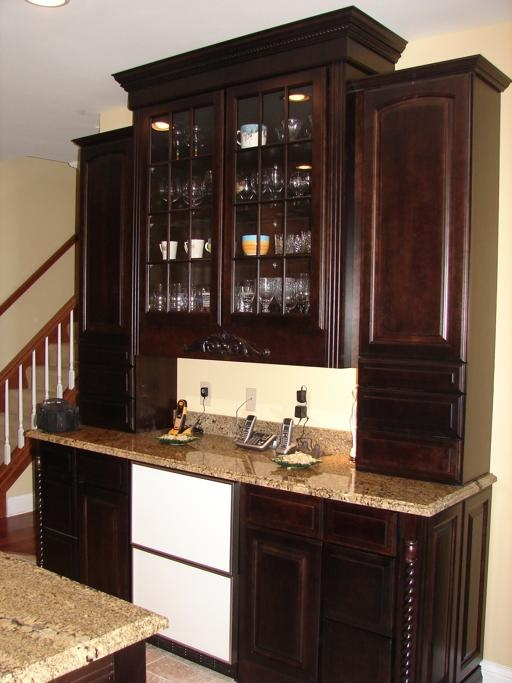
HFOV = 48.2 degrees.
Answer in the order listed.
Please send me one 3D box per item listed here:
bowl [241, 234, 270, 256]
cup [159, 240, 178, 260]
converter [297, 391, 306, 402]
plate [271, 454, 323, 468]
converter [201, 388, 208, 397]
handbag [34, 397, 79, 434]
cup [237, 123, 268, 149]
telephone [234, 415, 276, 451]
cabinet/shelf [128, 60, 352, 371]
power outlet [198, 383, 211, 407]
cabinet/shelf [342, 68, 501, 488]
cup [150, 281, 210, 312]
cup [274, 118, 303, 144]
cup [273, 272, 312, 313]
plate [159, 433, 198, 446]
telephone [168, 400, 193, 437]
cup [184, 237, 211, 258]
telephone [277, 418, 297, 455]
[{"bbox_3d":[-0.008,-0.410,2.419,0.093,0.067,0.086,0,3,0],"label":"bowl"},{"bbox_3d":[-0.421,-0.439,2.739,0.070,0.084,0.094,0,-3,-10],"label":"cup"},{"bbox_3d":[0.209,0.264,2.710,0.054,0.064,0.024,-3,-3,40],"label":"converter"},{"bbox_3d":[0.168,0.498,2.389,0.178,0.044,0.157,-2,-2,15],"label":"plate"},{"bbox_3d":[-0.283,0.276,3.107,0.039,0.063,0.018,1,-1,41],"label":"converter"},{"bbox_3d":[-1.070,0.401,3.134,0.166,0.139,0.182,3,1,3],"label":"handbag"},{"bbox_3d":[-0.016,-0.864,2.427,0.090,0.099,0.120,-1,0,-45],"label":"cup"},{"bbox_3d":[0.005,0.441,2.717,0.142,0.108,0.154,6,24,21],"label":"telephone"},{"bbox_3d":[-0.048,-0.566,2.437,1.213,1.550,0.350,3,3,40],"label":"cabinet/shelf"},{"bbox_3d":[-0.282,0.292,3.119,0.017,0.192,0.104,-3,5,-41],"label":"power outlet"},{"bbox_3d":[0.673,-0.235,2.050,0.572,1.479,0.439,-1,-2,-3],"label":"cabinet/shelf"},{"bbox_3d":[-0.368,-0.203,2.702,0.148,0.091,0.220,-1,5,-37],"label":"cup"},{"bbox_3d":[0.131,-0.842,2.297,0.080,0.081,0.095,0,5,24],"label":"cup"},{"bbox_3d":[0.145,-0.187,2.310,0.128,0.243,0.137,0,-1,0],"label":"cup"},{"bbox_3d":[-0.389,0.483,2.807,0.178,0.044,0.126,-1,-2,-9],"label":"plate"},{"bbox_3d":[-0.386,0.399,2.941,0.107,0.223,0.151,-4,-14,23],"label":"telephone"},{"bbox_3d":[-0.274,-0.427,2.620,0.096,0.087,0.082,-1,2,25],"label":"cup"},{"bbox_3d":[0.124,0.422,2.531,0.073,0.150,0.144,-2,-2,11],"label":"telephone"}]
